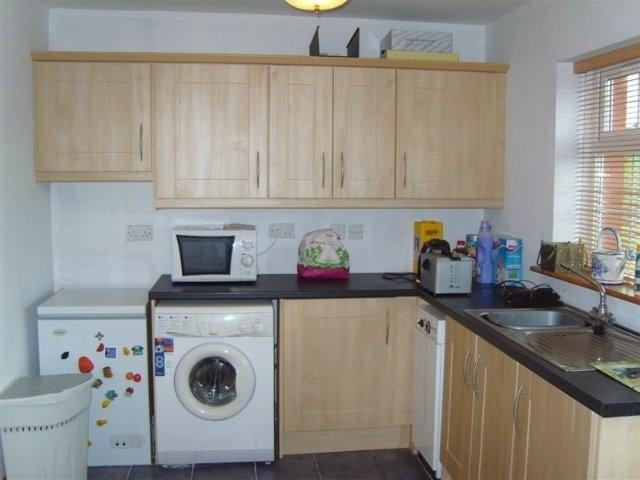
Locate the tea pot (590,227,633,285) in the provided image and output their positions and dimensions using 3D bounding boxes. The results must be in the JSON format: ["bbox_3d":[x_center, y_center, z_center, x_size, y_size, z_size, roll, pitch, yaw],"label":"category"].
[{"bbox_3d":[1.617,0.088,3.062,0.156,0.310,0.332,-6,13,-14],"label":"tea pot"}]

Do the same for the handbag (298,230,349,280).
[{"bbox_3d":[0.027,0.095,3.899,0.333,0.324,0.333,0,2,-5],"label":"handbag"}]

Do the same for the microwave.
[{"bbox_3d":[-0.687,0.095,3.588,0.566,0.366,0.342,0,2,-5],"label":"microwave"}]

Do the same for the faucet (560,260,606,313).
[{"bbox_3d":[1.430,0.238,2.957,0.216,0.266,0.358,1,7,29],"label":"faucet"}]

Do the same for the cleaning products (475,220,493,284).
[{"bbox_3d":[1.127,0.090,3.757,0.117,0.425,0.084,-1,6,16],"label":"cleaning products"}]

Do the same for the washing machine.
[{"bbox_3d":[-0.647,0.905,3.683,0.734,0.983,0.674,1,2,1],"label":"washing machine"}]
